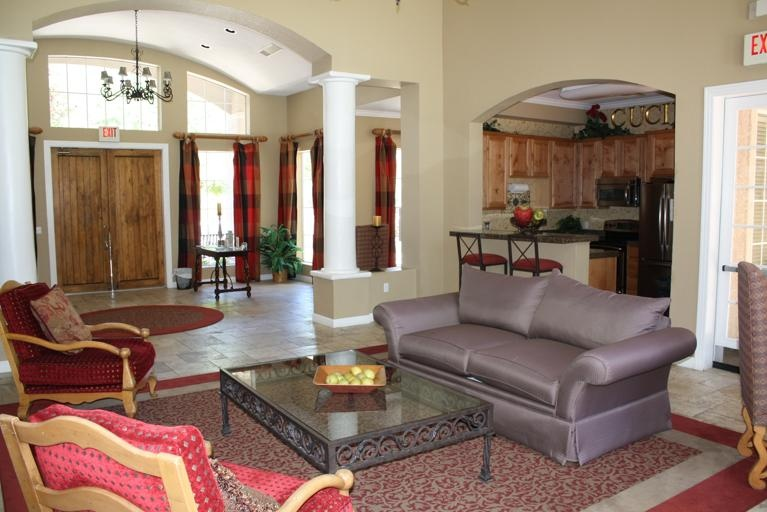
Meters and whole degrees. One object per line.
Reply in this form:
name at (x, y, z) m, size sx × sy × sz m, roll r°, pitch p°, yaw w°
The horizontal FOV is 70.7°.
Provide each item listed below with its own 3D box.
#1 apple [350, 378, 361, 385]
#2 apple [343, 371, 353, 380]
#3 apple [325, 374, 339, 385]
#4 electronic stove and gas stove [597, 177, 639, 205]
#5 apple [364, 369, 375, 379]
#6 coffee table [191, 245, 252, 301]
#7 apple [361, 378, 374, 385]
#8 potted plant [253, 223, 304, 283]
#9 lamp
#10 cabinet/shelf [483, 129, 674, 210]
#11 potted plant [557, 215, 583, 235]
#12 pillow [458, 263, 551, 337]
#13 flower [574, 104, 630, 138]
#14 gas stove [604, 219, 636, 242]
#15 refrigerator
apple at (-0.185, 0.872, 3.739) m, size 0.039 × 0.039 × 0.046 m, roll -45°, pitch -1°, yaw -41°
apple at (-0.237, 0.848, 3.800) m, size 0.046 × 0.035 × 0.037 m, roll 22°, pitch -14°, yaw -9°
apple at (-0.345, 0.866, 3.790) m, size 0.064 × 0.030 × 0.062 m, roll 1°, pitch -1°, yaw -34°
electronic stove and gas stove at (3.795, -1.041, 8.743) m, size 0.492 × 0.450 × 0.739 m, roll -1°, pitch 3°, yaw -34°
apple at (-0.077, 0.828, 3.803) m, size 0.071 × 0.063 × 0.037 m, roll 9°, pitch -47°, yaw -46°
coffee table at (-2.884, 0.287, 9.655) m, size 0.699 × 0.781 × 1.372 m, roll -5°, pitch 5°, yaw -32°
apple at (-0.100, 0.871, 3.743) m, size 0.061 × 0.046 × 0.045 m, roll 13°, pitch 34°, yaw 6°
potted plant at (-2.059, -0.080, 10.951) m, size 1.161 × 1.120 × 1.096 m, roll 4°, pitch -6°, yaw 1°
lamp at (-3.716, -2.984, 8.111) m, size 0.986 × 1.204 × 0.971 m, roll 26°, pitch 33°, yaw 24°
cabinet/shelf at (3.268, -1.535, 8.929) m, size 2.555 × 0.914 × 0.923 m, roll 0°, pitch 14°, yaw 25°
potted plant at (3.281, -0.545, 9.499) m, size 0.395 × 0.355 × 0.395 m, roll 10°, pitch 11°, yaw 17°
pillow at (1.079, 0.405, 4.903) m, size 0.303 × 0.505 × 0.896 m, roll 0°, pitch 4°, yaw -41°
flower at (3.800, -2.339, 9.361) m, size 0.952 × 0.514 × 0.843 m, roll -1°, pitch 8°, yaw -28°
gas stove at (3.960, -0.400, 8.904) m, size 0.369 × 0.370 × 0.622 m, roll 3°, pitch -1°, yaw -37°
refrigerator at (3.804, -0.067, 7.178) m, size 0.424 × 1.734 × 0.569 m, roll -4°, pitch 9°, yaw -20°
